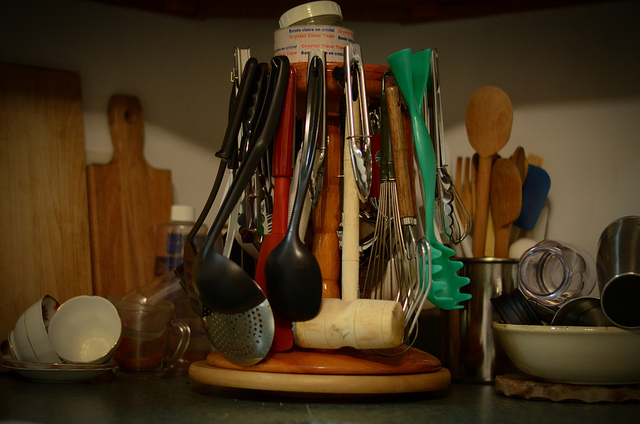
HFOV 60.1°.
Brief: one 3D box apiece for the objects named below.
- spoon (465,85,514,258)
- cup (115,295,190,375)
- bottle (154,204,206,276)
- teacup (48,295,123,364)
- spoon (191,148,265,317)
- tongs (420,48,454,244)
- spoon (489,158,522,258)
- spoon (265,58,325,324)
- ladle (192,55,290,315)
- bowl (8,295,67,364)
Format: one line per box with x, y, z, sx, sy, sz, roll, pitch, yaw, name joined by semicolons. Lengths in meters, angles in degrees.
0.366;-0.045;1.247;0.095;0.457;0.036;11;18;33;spoon
-0.341;0.266;1.137;0.155;0.151;0.101;3;4;9;cup
-0.342;0.075;1.318;0.113;0.179;0.115;9;2;0;bottle
-0.470;0.229;1.096;0.110;0.123;0.152;-4;9;-39;teacup
-0.157;0.030;0.929;0.139;0.280;0.082;0;-3;7;spoon
0.230;-0.126;1.064;0.058;0.405;0.051;-2;3;-8;tongs
0.405;-0.023;1.214;0.055;0.252;0.031;5;8;44;spoon
-0.029;-0.047;0.924;0.076;0.457;0.106;-1;-3;37;spoon
-0.116;-0.045;0.963;0.149;0.410;0.175;0;10;-26;ladle
-0.546;0.204;1.070;0.143;0.129;0.116;1;-3;-36;bowl
